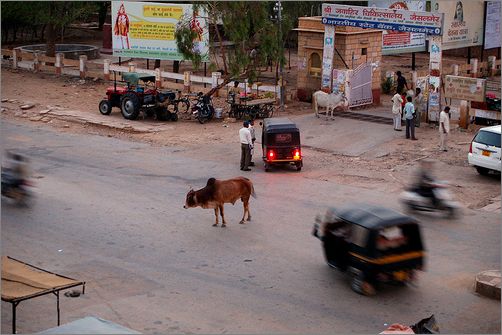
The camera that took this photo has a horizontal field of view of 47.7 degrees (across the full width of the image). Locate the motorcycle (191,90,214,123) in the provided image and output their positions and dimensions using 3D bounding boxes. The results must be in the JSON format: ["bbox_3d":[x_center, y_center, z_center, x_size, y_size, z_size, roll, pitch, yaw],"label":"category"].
[{"bbox_3d":[-2.893,-3.469,34.215,0.701,1.586,1.534,4,12,25],"label":"motorcycle"}]

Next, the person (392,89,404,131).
[{"bbox_3d":[8.003,-3.002,30.797,0.531,2.005,1.327,2,12,15],"label":"person"}]

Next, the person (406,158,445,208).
[{"bbox_3d":[6.433,0.708,21.078,0.904,1.525,1.040,-5,12,-21],"label":"person"}]

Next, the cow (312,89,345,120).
[{"bbox_3d":[4.694,-3.719,33.770,1.814,1.624,2.344,0,11,6],"label":"cow"}]

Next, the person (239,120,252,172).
[{"bbox_3d":[-0.240,-0.941,25.459,0.563,2.197,0.550,-1,11,-2],"label":"person"}]

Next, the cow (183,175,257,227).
[{"bbox_3d":[-1.082,1.245,20.325,3.106,1.742,0.714,-9,9,-29],"label":"cow"}]

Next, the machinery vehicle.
[{"bbox_3d":[-6.500,-4.335,34.429,4.795,2.591,2.423,16,25,21],"label":"machinery vehicle"}]
